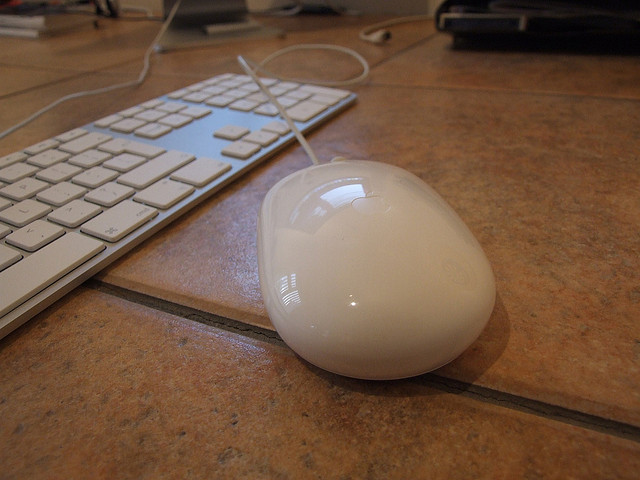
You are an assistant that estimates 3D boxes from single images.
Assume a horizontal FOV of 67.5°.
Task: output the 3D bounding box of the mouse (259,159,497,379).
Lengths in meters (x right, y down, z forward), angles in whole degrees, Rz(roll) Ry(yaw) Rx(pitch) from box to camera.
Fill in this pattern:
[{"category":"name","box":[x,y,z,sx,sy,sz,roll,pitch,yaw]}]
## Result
[{"category":"mouse","box":[0.038,0.009,0.383,0.175,0.076,0.197,-7,42,-8]}]
